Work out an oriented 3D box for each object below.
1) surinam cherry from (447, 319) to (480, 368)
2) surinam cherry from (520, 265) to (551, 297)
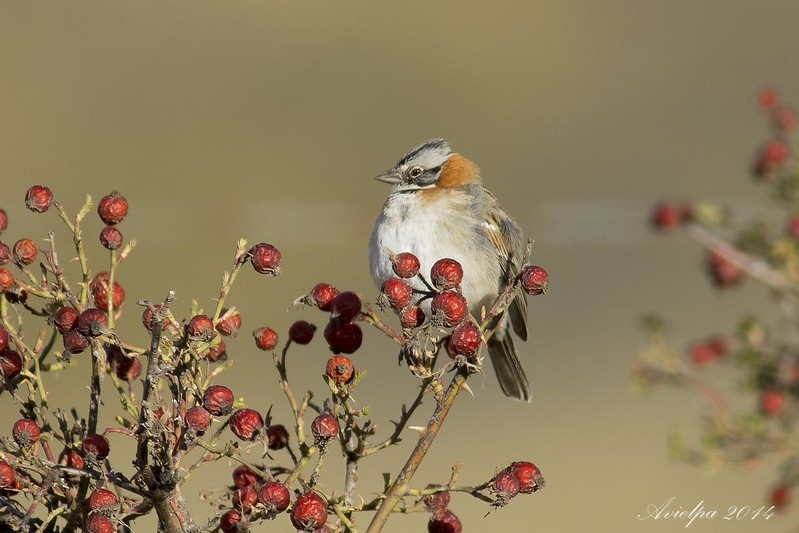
[{"bbox_3d":[0.234,0.288,4.061,0.102,0.148,0.087,5,-14,40],"label":"surinam cherry"},{"bbox_3d":[0.494,0.049,3.996,0.093,0.078,0.076,38,-85,1],"label":"surinam cherry"}]
